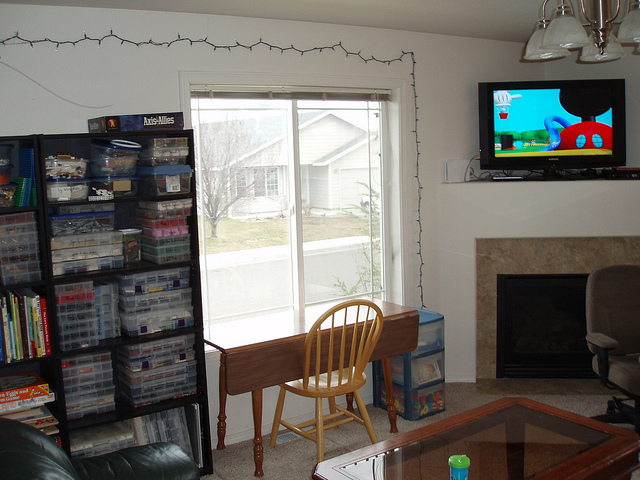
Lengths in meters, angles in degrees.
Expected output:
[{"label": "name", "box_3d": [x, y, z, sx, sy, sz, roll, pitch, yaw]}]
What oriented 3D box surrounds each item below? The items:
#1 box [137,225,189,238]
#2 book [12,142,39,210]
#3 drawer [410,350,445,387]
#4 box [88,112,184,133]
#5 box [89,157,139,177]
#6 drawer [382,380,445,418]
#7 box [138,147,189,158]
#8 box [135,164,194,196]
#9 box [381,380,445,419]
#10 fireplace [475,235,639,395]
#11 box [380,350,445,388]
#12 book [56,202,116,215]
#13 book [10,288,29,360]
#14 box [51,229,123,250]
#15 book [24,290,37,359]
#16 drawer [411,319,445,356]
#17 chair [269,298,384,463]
[{"label": "box", "box_3d": [-0.932, -0.052, 3.130, 0.287, 0.057, 0.117, -2, 8, -2]}, {"label": "book", "box_3d": [-1.531, -0.333, 2.760, 0.146, 0.356, 0.138, -3, 8, -12]}, {"label": "drawer", "box_3d": [0.812, 0.952, 3.937, 0.323, 0.221, 0.081, -8, 2, -33]}, {"label": "box", "box_3d": [-1.028, -0.672, 2.996, 0.479, 0.110, 0.104, -3, 8, -10]}, {"label": "box", "box_3d": [-1.170, -0.418, 3.000, 0.258, 0.104, 0.124, -5, 8, -25]}, {"label": "drawer", "box_3d": [0.758, 1.187, 3.981, 0.296, 0.182, 0.292, -7, 9, -36]}, {"label": "box", "box_3d": [-0.913, -0.513, 3.073, 0.274, 0.054, 0.121, -3, 8, -12]}, {"label": "box", "box_3d": [-0.907, -0.403, 3.167, 0.219, 0.143, 0.302, -6, 22, -28]}, {"label": "box", "box_3d": [0.753, 1.135, 3.983, 0.311, 0.190, 0.305, -6, 8, -29]}, {"label": "fireplace", "box_3d": [1.904, 0.546, 4.124, 1.278, 1.064, 0.411, 0, 3, 3]}, {"label": "box", "box_3d": [0.752, 0.962, 3.972, 0.316, 0.195, 0.315, -7, 9, -38]}, {"label": "book", "box_3d": [-1.291, -0.177, 2.917, 0.284, 0.053, 0.067, -6, 9, -33]}, {"label": "book", "box_3d": [-1.570, 0.456, 2.747, 0.040, 0.389, 0.338, -5, 9, -24]}, {"label": "box", "box_3d": [-1.291, -0.005, 2.925, 0.366, 0.084, 0.040, -6, 9, -32]}, {"label": "book", "box_3d": [-1.528, 0.457, 2.774, 0.048, 0.321, 0.283, -6, 12, -24]}, {"label": "drawer", "box_3d": [0.887, 0.726, 4.145, 0.190, 0.226, 0.328, -2, -9, 12]}, {"label": "chair", "box_3d": [0.046, 0.866, 3.411, 0.651, 1.052, 0.589, 0, 6, -23]}]
